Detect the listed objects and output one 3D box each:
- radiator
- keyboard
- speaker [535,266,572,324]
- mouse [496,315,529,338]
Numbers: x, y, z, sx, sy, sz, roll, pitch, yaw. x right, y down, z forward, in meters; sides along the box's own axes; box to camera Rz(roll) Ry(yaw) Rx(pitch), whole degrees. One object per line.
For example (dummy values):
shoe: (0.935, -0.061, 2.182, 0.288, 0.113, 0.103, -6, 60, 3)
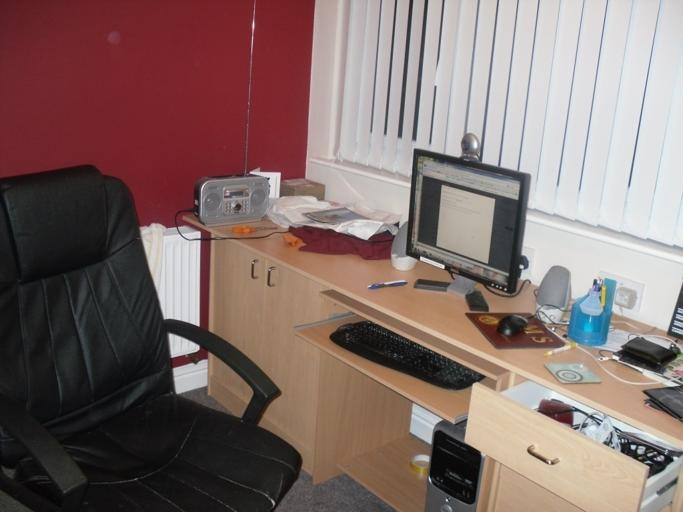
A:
radiator: (-0.868, 0.169, 2.768, 0.112, 0.562, 0.489, 17, 17, 41)
keyboard: (0.230, 0.365, 1.970, 0.572, 0.067, 0.188, 15, 28, 31)
speaker: (0.743, 0.122, 1.960, 0.111, 0.156, 0.206, 11, 41, 31)
mouse: (0.569, 0.228, 1.780, 0.117, 0.050, 0.059, -10, 25, -21)
